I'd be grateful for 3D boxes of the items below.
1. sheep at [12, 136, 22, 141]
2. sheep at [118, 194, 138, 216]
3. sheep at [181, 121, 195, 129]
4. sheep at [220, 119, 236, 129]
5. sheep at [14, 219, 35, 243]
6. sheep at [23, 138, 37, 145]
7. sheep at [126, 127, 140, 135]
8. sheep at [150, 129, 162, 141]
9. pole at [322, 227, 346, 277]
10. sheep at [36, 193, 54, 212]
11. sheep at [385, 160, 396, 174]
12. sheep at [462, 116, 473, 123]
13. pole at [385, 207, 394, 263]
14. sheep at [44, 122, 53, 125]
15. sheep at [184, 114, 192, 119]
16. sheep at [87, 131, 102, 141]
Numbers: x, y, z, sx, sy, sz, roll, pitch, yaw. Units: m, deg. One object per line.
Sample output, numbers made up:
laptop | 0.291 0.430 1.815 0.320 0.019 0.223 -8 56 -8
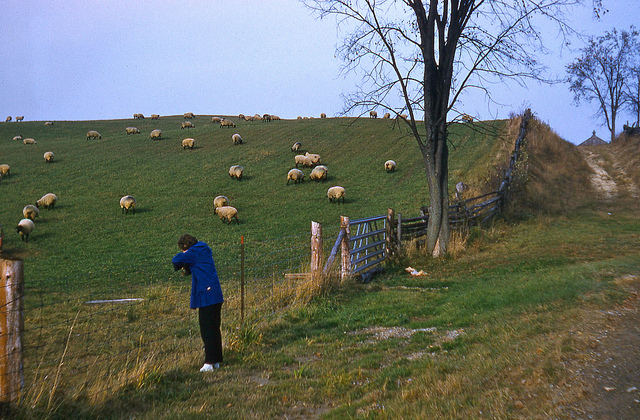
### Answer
sheep | -36.429 -8.685 84.270 0.974 0.559 0.517 -18 15 -21
sheep | -15.224 -0.436 55.512 0.958 1.750 2.374 -3 8 -27
sheep | -17.150 -10.977 90.193 1.533 0.858 2.458 -5 3 -12
sheep | -11.908 -11.042 89.749 1.810 0.981 3.104 -6 3 -20
sheep | -20.832 1.484 49.423 1.003 1.626 1.350 -6 3 -38
sheep | -33.631 -7.911 80.875 1.486 1.040 0.605 9 -4 18
sheep | -23.048 -9.814 86.239 1.495 0.809 1.785 -5 3 -14
sheep | -19.146 -8.799 81.581 0.974 1.181 3.080 -4 3 -4
pole | 0.786 2.474 39.795 0.380 0.413 3.123 0 49 35
sheep | -22.076 -0.538 56.084 1.499 1.371 0.783 -3 2 29
sheep | 6.208 -3.819 62.064 0.917 1.419 2.379 2 4 12
sheep | 8.520 -5.274 40.362 0.555 0.373 0.427 -5 2 1
pole | 4.031 1.422 40.953 0.589 2.107 0.469 -4 2 2
sheep | -37.033 -11.857 95.544 0.966 0.527 2.559 -6 3 -21
sheep | -20.171 -14.331 106.768 1.705 0.604 1.400 -4 3 12
sheep | -26.909 -8.972 83.516 1.668 1.070 2.782 -6 3 -20
